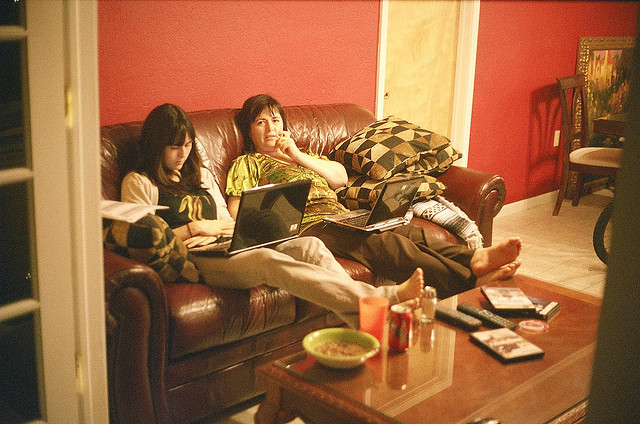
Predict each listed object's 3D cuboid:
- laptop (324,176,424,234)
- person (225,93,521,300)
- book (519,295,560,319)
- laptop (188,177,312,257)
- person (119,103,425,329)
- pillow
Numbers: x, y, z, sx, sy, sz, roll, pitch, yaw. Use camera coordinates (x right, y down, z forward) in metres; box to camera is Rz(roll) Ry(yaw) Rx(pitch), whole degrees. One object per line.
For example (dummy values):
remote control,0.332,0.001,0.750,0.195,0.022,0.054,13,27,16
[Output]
laptop,0.303,-0.032,2.596,0.370,0.239,0.375,12,17,35
person,0.172,-0.214,2.700,1.842,0.971,0.840,17,26,35
book,0.856,0.374,1.890,0.089,0.021,0.092,19,29,34
laptop,-0.332,-0.055,2.227,0.392,0.238,0.405,-16,22,-41
person,-0.440,-0.039,2.401,1.670,0.887,0.710,24,20,21
pillow,0.478,-0.351,3.059,0.681,0.211,0.556,-22,43,-33
